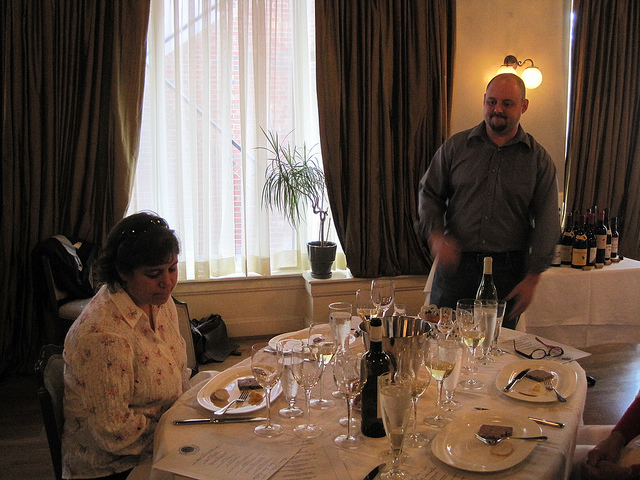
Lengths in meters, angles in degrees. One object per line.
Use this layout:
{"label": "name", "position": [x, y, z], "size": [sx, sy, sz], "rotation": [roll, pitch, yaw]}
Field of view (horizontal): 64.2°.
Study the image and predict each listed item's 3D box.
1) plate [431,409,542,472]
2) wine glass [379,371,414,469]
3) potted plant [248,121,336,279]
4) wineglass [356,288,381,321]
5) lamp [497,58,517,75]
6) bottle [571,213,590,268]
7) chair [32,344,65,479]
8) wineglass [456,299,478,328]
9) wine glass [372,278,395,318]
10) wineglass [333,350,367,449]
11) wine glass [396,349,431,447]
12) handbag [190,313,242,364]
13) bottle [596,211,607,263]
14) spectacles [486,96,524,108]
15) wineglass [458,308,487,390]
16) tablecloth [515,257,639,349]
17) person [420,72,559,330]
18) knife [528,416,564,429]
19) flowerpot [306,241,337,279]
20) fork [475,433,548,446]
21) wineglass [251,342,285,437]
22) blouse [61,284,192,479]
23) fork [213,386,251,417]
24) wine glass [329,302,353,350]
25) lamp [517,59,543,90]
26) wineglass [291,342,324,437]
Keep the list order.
{"label": "plate", "position": [0.565, 0.671, 1.718], "size": [0.388, 0.097, 0.239], "rotation": [-4, 6, -31]}
{"label": "wine glass", "position": [0.251, 0.571, 1.655], "size": [0.112, 0.319, 0.257], "rotation": [0, 5, 9]}
{"label": "potted plant", "position": [-0.247, -0.371, 4.654], "size": [0.752, 1.433, 0.462], "rotation": [-1, 5, -7]}
{"label": "wineglass", "position": [0.228, 0.309, 2.412], "size": [0.114, 0.223, 0.128], "rotation": [0, -3, -1]}
{"label": "lamp", "position": [1.816, -1.683, 4.930], "size": [0.165, 0.139, 0.128], "rotation": [-5, 7, -41]}
{"label": "bottle", "position": [2.019, -0.005, 3.926], "size": [0.120, 0.390, 0.443], "rotation": [2, 6, 28]}
{"label": "chair", "position": [-1.108, 0.740, 2.110], "size": [0.105, 0.510, 0.126], "rotation": [-4, 6, -32]}
{"label": "wineglass", "position": [0.647, 0.319, 2.243], "size": [0.091, 0.116, 0.099], "rotation": [-1, 5, 3]}
{"label": "wine glass", "position": [0.307, 0.287, 2.474], "size": [0.095, 0.182, 0.146], "rotation": [0, 5, 10]}
{"label": "wineglass", "position": [0.108, 0.537, 1.803], "size": [0.113, 0.321, 0.213], "rotation": [0, 5, 3]}
{"label": "wine glass", "position": [0.335, 0.546, 1.811], "size": [0.132, 0.362, 0.136], "rotation": [-2, 4, -11]}
{"label": "handbag", "position": [-0.951, 0.882, 4.462], "size": [0.457, 0.239, 0.569], "rotation": [-5, 13, -21]}
{"label": "bottle", "position": [2.161, -0.030, 3.889], "size": [0.074, 0.384, 0.231], "rotation": [3, 6, 30]}
{"label": "spectacles", "position": [1.068, -0.806, 2.983], "size": [0.175, 0.068, 0.054], "rotation": [1, 6, 23]}
{"label": "wineglass", "position": [0.660, 0.454, 2.180], "size": [0.102, 0.339, 0.119], "rotation": [3, 4, 5]}
{"label": "tablecloth", "position": [1.861, 0.464, 3.749], "size": [0.753, 0.451, 0.773], "rotation": [-1, 1, -35]}
{"label": "person", "position": [1.016, -0.237, 3.137], "size": [0.848, 1.506, 0.393], "rotation": [2, 6, 28]}
{"label": "knife", "position": [0.810, 0.650, 1.815], "size": [0.100, 0.011, 0.022], "rotation": [8, 42, 14]}
{"label": "flowerpot", "position": [0.017, 0.173, 4.686], "size": [0.266, 0.330, 0.281], "rotation": [2, 14, 7]}
{"label": "fork", "position": [0.649, 0.673, 1.719], "size": [0.221, 0.040, 0.031], "rotation": [0, 3, 4]}
{"label": "wineglass", "position": [-0.198, 0.528, 1.923], "size": [0.115, 0.304, 0.302], "rotation": [-1, 5, -8]}
{"label": "blouse", "position": [-0.773, 0.586, 2.026], "size": [0.339, 0.641, 0.640], "rotation": [1, 8, 5]}
{"label": "fork", "position": [-0.332, 0.638, 1.984], "size": [0.034, 0.045, 0.271], "rotation": [-7, 13, 19]}
{"label": "wine glass", "position": [0.098, 0.437, 2.295], "size": [0.095, 0.349, 0.101], "rotation": [0, 14, 2]}
{"label": "lamp", "position": [2.079, -1.632, 4.970], "size": [0.348, 0.286, 0.182], "rotation": [-3, 6, -26]}
{"label": "wineglass", "position": [-0.042, 0.519, 1.884], "size": [0.114, 0.319, 0.240], "rotation": [-1, 5, 1]}
